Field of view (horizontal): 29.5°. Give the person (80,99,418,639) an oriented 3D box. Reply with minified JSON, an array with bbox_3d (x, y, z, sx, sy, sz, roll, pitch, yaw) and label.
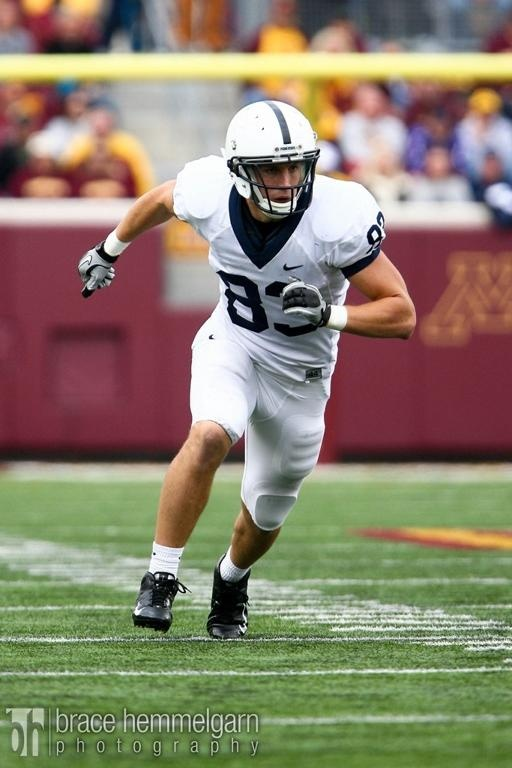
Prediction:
[{"bbox_3d":[0.058,-0.043,2.282,0.572,1.204,0.601,3,15,-2],"label":"person"}]

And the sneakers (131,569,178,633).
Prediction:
[{"bbox_3d":[-0.218,0.469,2.113,0.069,0.074,0.171,20,-2,-4],"label":"sneakers"}]

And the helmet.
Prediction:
[{"bbox_3d":[0.012,-0.547,2.256,0.215,0.183,0.241,-6,27,-8],"label":"helmet"}]

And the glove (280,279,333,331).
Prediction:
[{"bbox_3d":[0.110,-0.172,2.106,0.106,0.099,0.059,3,15,-3],"label":"glove"}]

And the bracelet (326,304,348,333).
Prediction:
[{"bbox_3d":[0.180,-0.145,2.120,0.048,0.048,0.046,-6,-3,-21],"label":"bracelet"}]
